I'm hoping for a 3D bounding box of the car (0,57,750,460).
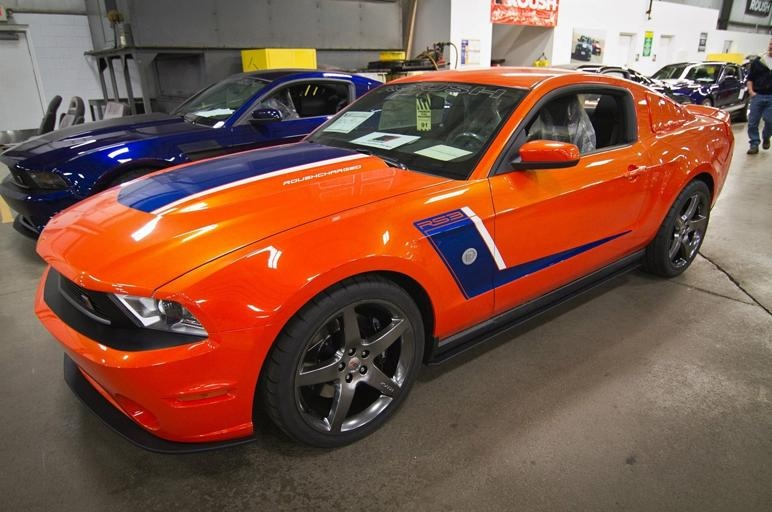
[{"bbox_3d":[0.580,-0.329,3.664,5.316,1.470,2.294,-11,22,-27],"label":"car"}]

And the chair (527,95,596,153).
[{"bbox_3d":[1.380,-1.075,3.577,0.383,0.348,0.261,33,29,33],"label":"chair"}]
